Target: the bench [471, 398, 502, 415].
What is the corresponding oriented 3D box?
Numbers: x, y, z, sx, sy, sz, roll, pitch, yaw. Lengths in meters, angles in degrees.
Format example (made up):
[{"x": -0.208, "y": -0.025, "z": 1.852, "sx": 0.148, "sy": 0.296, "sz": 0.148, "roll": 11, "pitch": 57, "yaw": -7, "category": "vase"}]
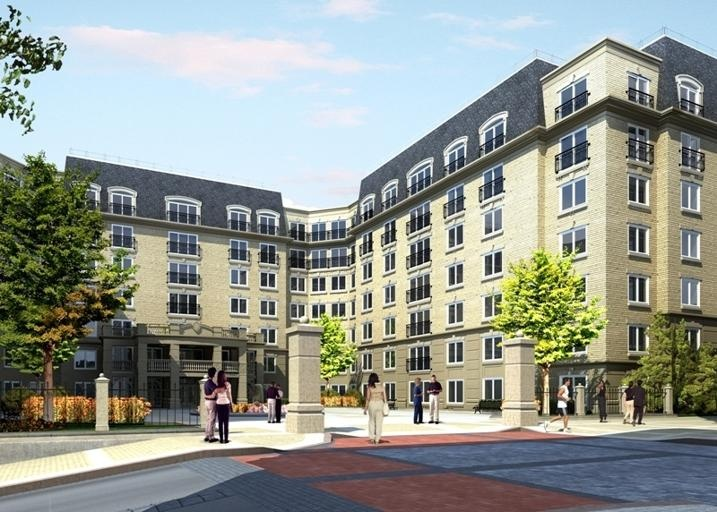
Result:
[{"x": 8.626, "y": 9.944, "z": 61.167, "sx": 0.723, "sy": 0.905, "sz": 2.587, "roll": 8, "pitch": -16, "yaw": -30, "category": "bench"}]
